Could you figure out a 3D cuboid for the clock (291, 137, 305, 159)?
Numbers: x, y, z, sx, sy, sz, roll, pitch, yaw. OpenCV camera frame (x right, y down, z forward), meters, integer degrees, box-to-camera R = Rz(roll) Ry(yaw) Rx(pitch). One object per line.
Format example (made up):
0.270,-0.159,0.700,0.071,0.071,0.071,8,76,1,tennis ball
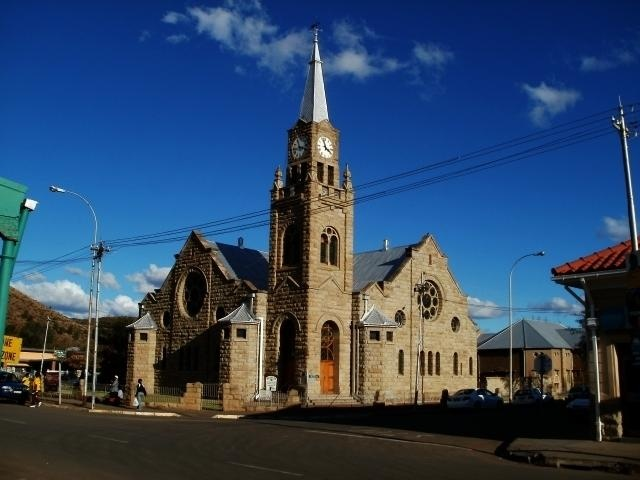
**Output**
-1.459,-6.452,46.481,0.099,1.408,1.325,2,-14,-35,clock

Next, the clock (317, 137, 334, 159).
0.322,-6.394,45.988,1.239,1.310,0.092,24,-26,-39,clock

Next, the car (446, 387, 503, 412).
10.858,11.069,46.420,3.502,1.127,1.683,5,-12,-35,car
